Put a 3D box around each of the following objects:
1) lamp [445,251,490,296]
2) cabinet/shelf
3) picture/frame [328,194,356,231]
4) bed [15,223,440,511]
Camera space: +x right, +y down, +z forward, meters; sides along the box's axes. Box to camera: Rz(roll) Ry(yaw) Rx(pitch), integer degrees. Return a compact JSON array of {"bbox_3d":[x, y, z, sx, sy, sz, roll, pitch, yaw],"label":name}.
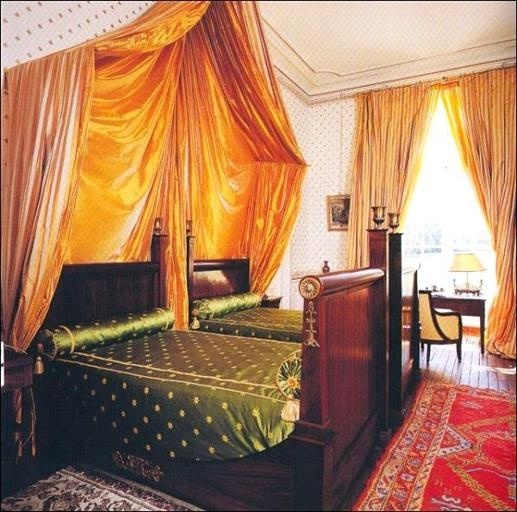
[{"bbox_3d":[2.580,0.205,5.500,0.366,0.518,0.391,-2,0,14],"label":"lamp"},{"bbox_3d":[2.334,0.911,5.381,0.578,0.745,0.763,-11,-4,36],"label":"cabinet/shelf"},{"bbox_3d":[1.207,-0.654,6.534,0.385,0.545,0.032,1,31,15],"label":"picture/frame"},{"bbox_3d":[-0.210,0.558,2.792,2.042,1.456,1.873,1,3,23],"label":"bed"}]
